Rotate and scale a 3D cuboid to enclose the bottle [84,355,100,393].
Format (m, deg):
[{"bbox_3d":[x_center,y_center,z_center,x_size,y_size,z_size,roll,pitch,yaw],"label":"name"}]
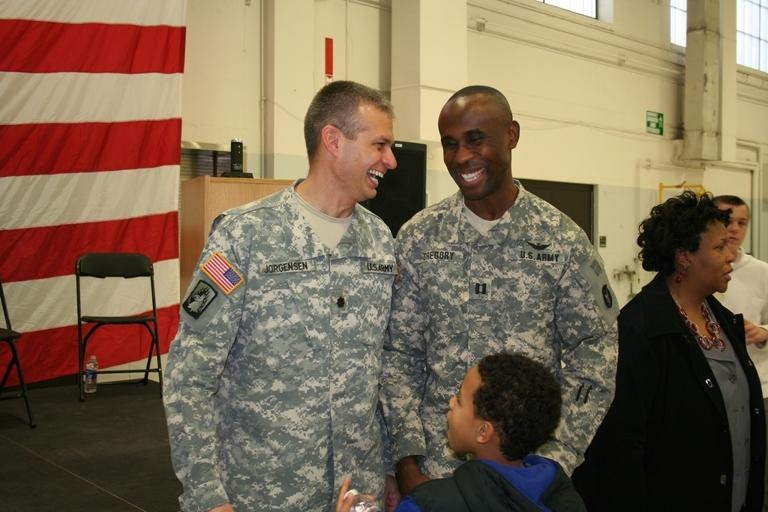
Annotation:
[{"bbox_3d":[-2.619,1.039,6.171,0.119,0.334,0.113,0,-8,0],"label":"bottle"}]

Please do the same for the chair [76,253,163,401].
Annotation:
[{"bbox_3d":[-2.398,0.597,6.242,0.756,1.253,0.750,2,-2,-21],"label":"chair"}]
